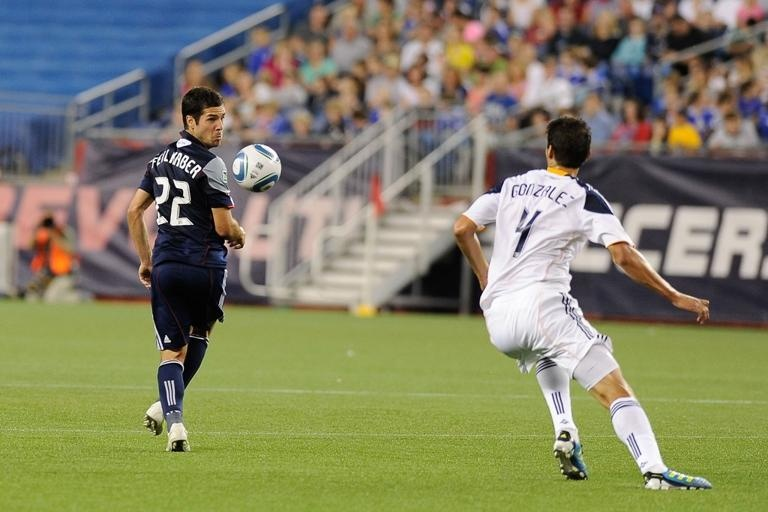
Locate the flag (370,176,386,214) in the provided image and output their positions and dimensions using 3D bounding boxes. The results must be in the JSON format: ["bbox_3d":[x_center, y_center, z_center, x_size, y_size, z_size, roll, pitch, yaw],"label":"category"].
[{"bbox_3d":[-0.155,-1.149,22.272,0.286,0.726,0.827,2,2,-1],"label":"flag"}]

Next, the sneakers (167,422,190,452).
[{"bbox_3d":[-2.108,1.864,12.038,0.158,0.162,0.358,1,1,-5],"label":"sneakers"}]

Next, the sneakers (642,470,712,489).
[{"bbox_3d":[2.752,2.118,11.290,0.679,0.207,0.228,-1,0,-2],"label":"sneakers"}]

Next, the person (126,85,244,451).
[{"bbox_3d":[-2.078,0.108,12.364,1.174,3.762,0.730,2,3,3],"label":"person"}]

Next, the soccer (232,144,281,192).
[{"bbox_3d":[-1.397,-0.930,12.961,0.531,0.494,0.528,-22,18,-38],"label":"soccer"}]
